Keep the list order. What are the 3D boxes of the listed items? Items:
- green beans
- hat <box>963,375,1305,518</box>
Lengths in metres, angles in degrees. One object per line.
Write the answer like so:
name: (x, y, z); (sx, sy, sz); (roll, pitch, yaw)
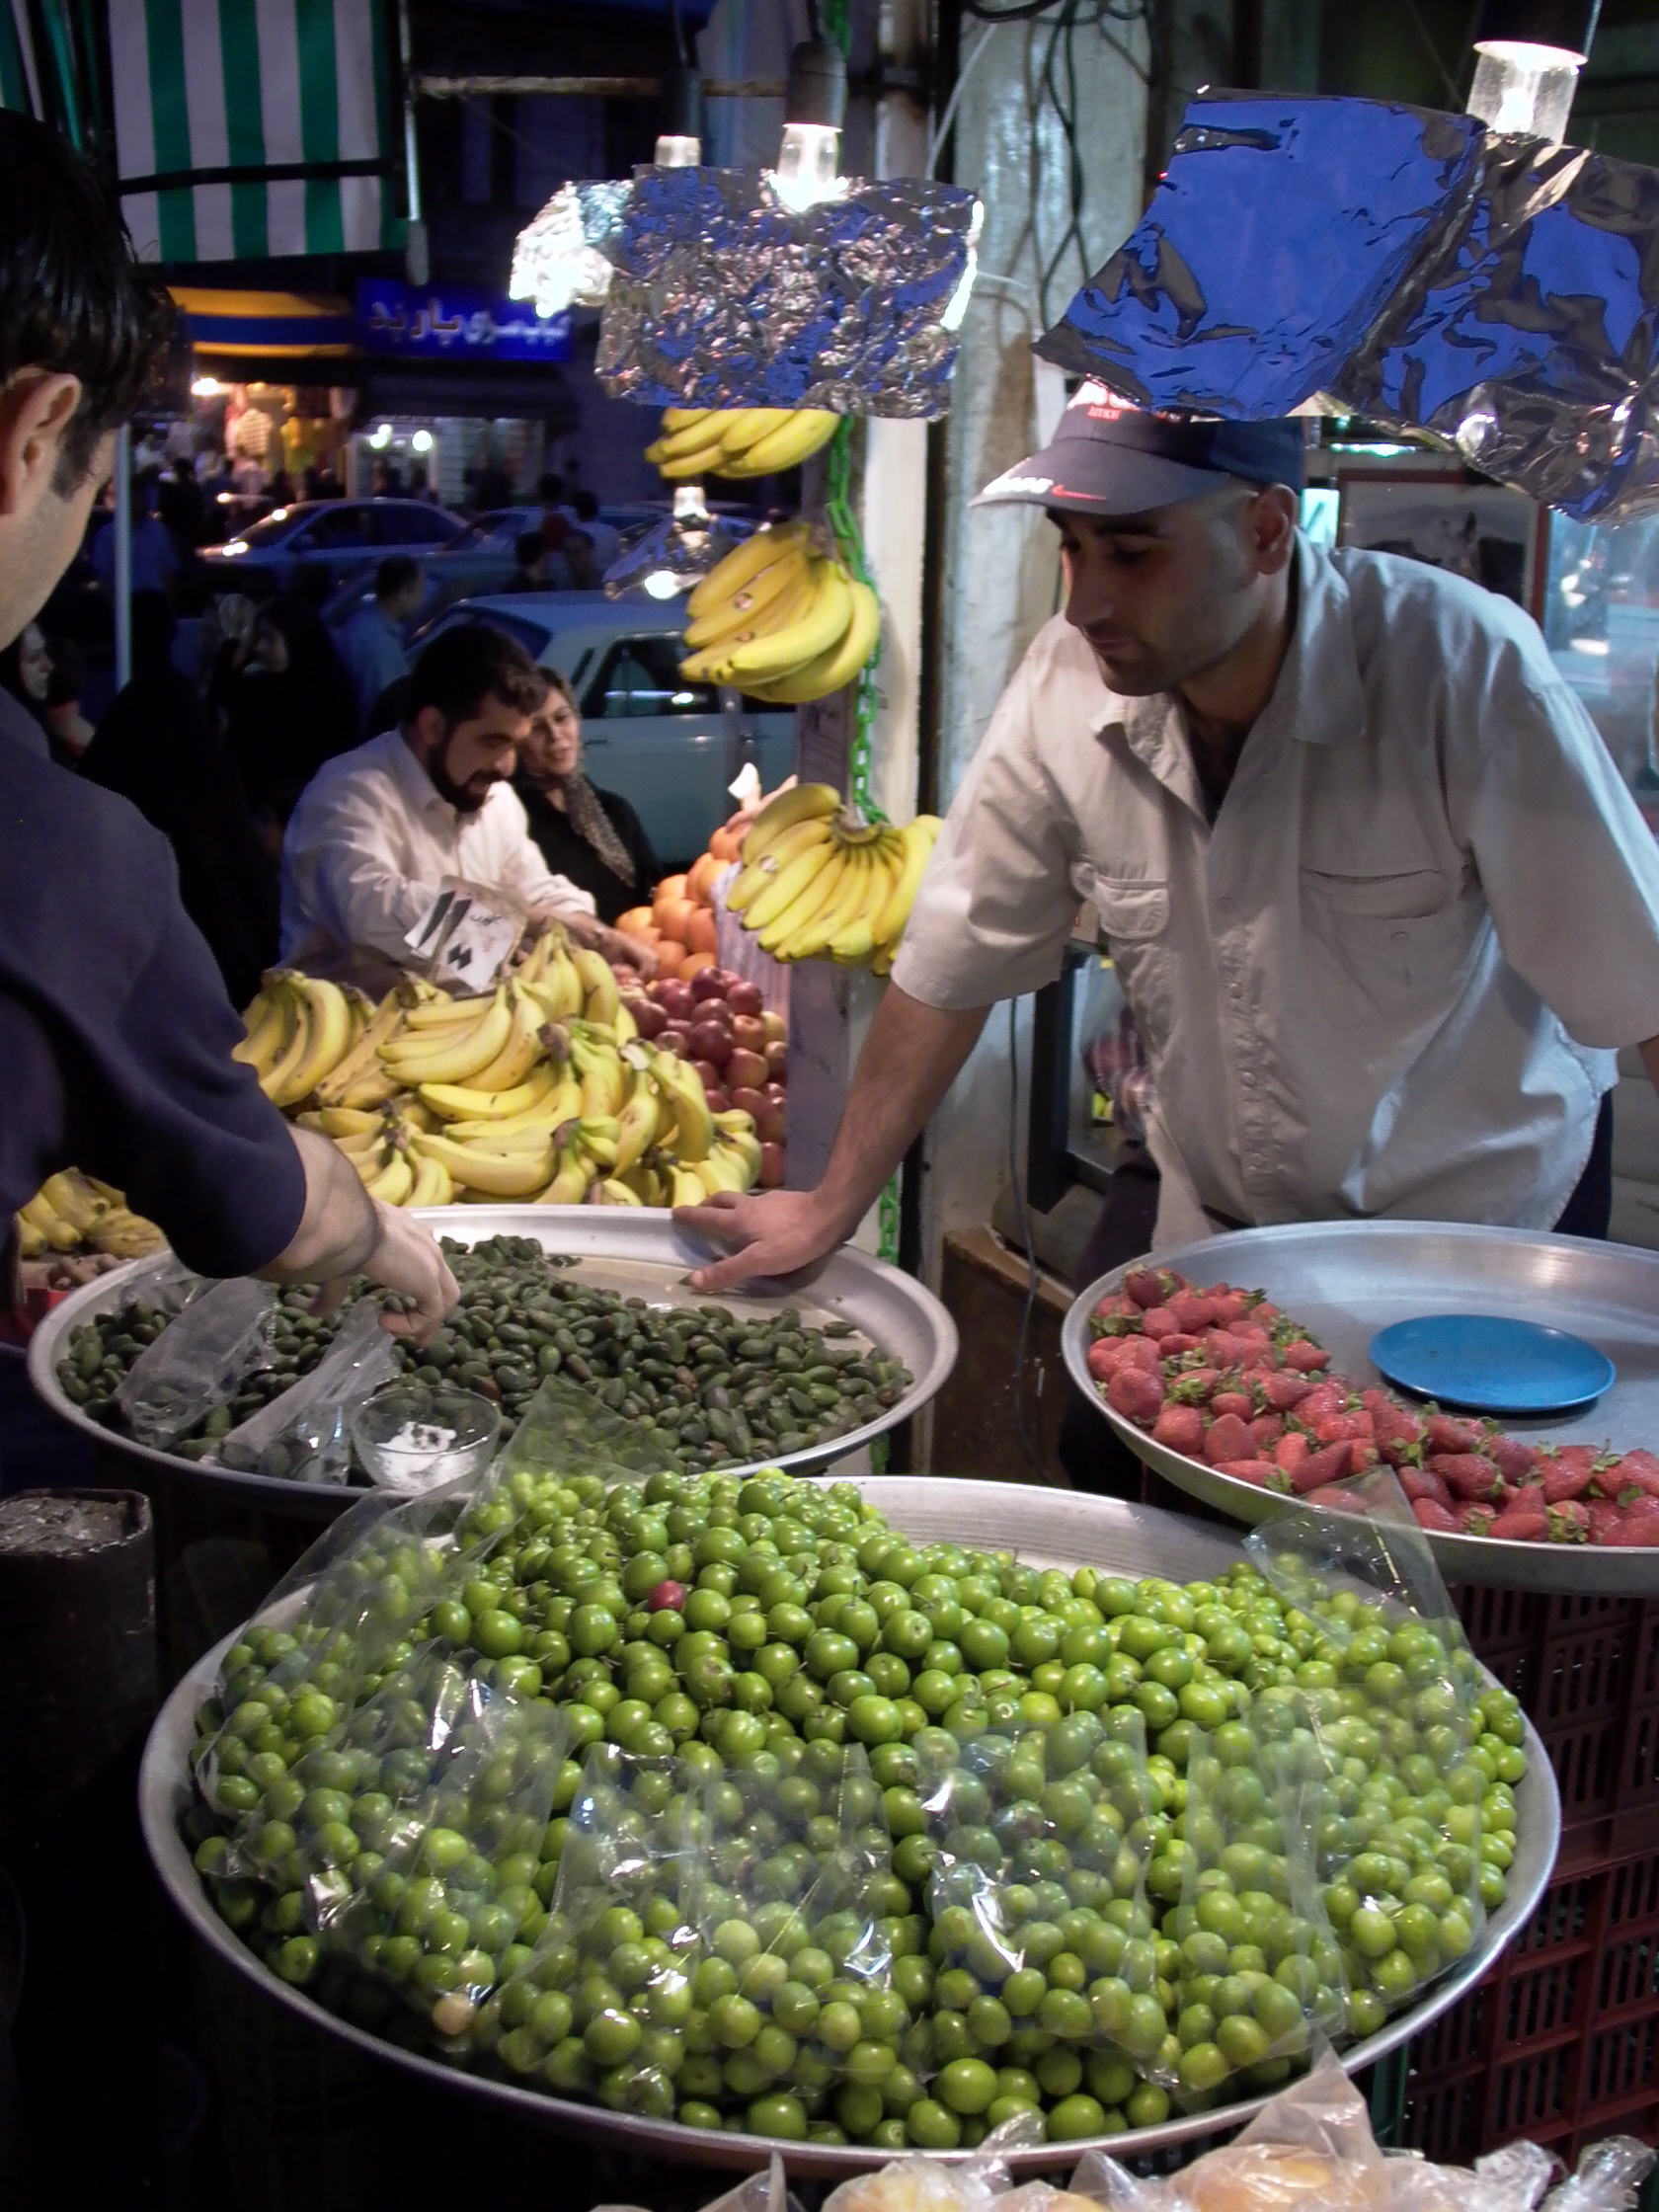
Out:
green beans: (-0.444, 0.243, 2.077); (0.906, 0.192, 0.837); (-11, 15, -35)
hat: (0.370, -0.731, 1.888); (0.312, 0.150, 0.216); (5, 22, -27)
